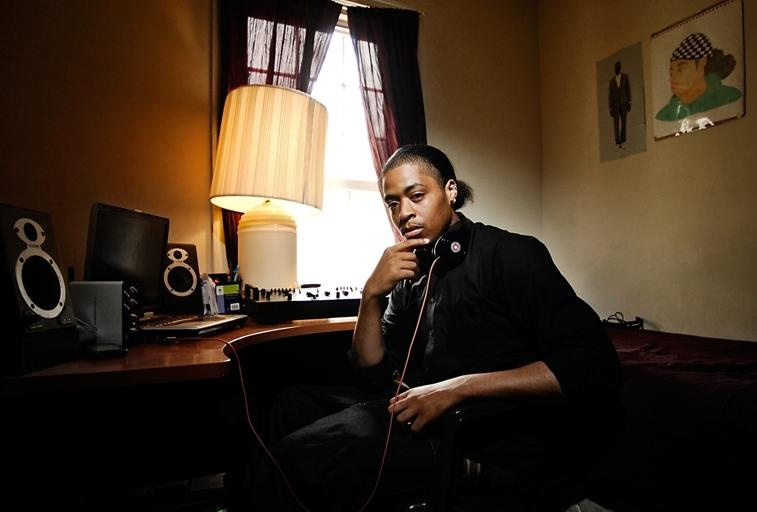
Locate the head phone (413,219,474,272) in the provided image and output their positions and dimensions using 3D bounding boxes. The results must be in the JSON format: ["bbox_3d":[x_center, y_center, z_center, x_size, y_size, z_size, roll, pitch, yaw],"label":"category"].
[{"bbox_3d":[0.284,-0.039,2.410,0.196,0.223,0.219,-38,2,-2],"label":"head phone"}]
